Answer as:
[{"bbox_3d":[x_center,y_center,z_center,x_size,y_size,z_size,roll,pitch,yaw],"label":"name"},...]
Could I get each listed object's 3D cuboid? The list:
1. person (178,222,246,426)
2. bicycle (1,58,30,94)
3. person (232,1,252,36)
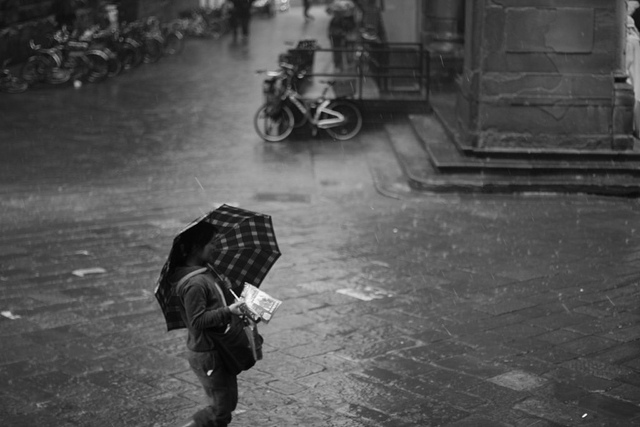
[{"bbox_3d":[-1.039,1.169,7.574,0.589,2.193,0.591,-6,16,-16],"label":"person"},{"bbox_3d":[-7.380,-3.150,18.989,0.599,0.492,0.481,-1,15,-1],"label":"bicycle"},{"bbox_3d":[-2.858,-7.144,28.956,0.511,1.207,0.918,-1,15,2],"label":"person"}]
